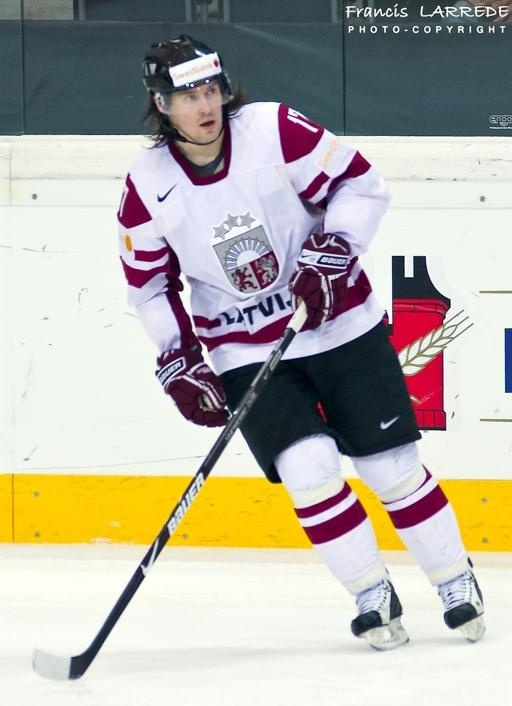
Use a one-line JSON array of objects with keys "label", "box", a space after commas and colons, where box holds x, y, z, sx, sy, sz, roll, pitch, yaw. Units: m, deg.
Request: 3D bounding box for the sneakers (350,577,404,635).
[{"label": "sneakers", "box": [0.247, 0.527, 1.809, 0.059, 0.072, 0.175, -23, -7, 24]}]

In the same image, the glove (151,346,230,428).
[{"label": "glove", "box": [-0.141, 0.085, 1.986, 0.130, 0.085, 0.200, -32, 63, 2]}]

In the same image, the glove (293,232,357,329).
[{"label": "glove", "box": [0.139, -0.156, 1.857, 0.141, 0.186, 0.085, 9, 8, 17]}]

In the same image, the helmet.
[{"label": "helmet", "box": [-0.154, -0.609, 1.899, 0.161, 0.151, 0.167, -26, 36, -13]}]

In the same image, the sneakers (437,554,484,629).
[{"label": "sneakers", "box": [0.439, 0.528, 1.856, 0.090, 0.146, 0.104, -3, -5, 8]}]
